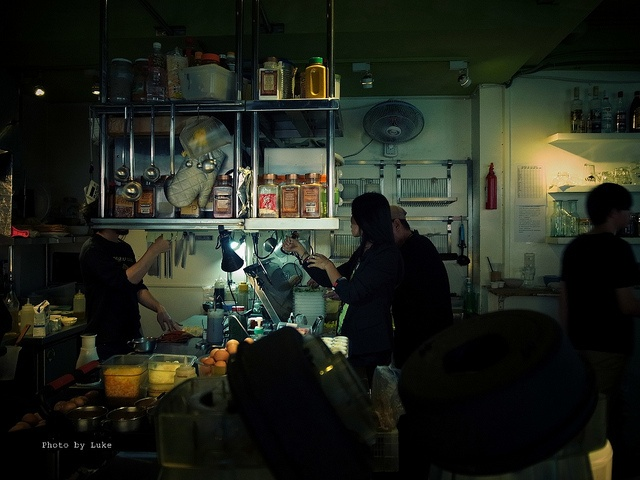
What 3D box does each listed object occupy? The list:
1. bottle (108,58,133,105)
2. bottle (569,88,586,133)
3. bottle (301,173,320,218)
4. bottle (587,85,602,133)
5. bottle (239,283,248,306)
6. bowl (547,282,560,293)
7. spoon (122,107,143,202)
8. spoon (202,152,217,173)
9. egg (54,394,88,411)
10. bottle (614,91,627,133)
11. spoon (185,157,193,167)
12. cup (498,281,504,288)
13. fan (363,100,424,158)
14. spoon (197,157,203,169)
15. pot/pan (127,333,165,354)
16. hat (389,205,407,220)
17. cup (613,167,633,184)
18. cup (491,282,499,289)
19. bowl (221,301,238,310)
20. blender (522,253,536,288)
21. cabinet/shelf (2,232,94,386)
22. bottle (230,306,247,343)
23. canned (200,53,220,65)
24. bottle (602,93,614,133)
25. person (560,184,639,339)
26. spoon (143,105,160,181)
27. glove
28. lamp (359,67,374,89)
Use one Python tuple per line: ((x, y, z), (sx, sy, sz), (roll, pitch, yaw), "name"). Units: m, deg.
((-1.155, -0.918, 3.661), (0.144, 0.249, 0.089), (-1, 5, -18), "bottle")
((2.406, -1.207, 5.870), (0.156, 0.411, 0.110), (-1, 4, -9), "bottle")
((-0.056, -0.261, 3.694), (0.115, 0.257, 0.117), (0, 4, 0), "bottle")
((2.548, -1.199, 5.860), (0.123, 0.420, 0.281), (2, 5, 23), "bottle")
((-0.660, 0.466, 5.386), (0.080, 0.208, 0.202), (-1, 5, -8), "bottle")
((2.064, 0.425, 5.576), (0.098, 0.091, 0.175), (13, 8, 17), "bowl")
((-1.104, -0.489, 3.694), (0.111, 0.531, 0.261), (-1, 5, -15), "spoon")
((-0.638, -0.448, 3.633), (0.081, 0.104, 0.051), (-9, -13, -5), "spoon")
((-1.279, 0.834, 3.225), (0.059, 0.042, 0.116), (-7, -3, -2), "egg")
((2.803, -1.194, 5.885), (0.109, 0.405, 0.321), (2, 5, 24), "bottle")
((-0.747, -0.436, 3.587), (0.042, 0.050, 0.031), (-1, 5, -12), "spoon")
((1.660, 0.407, 5.769), (0.025, 0.056, 0.094), (3, 6, 35), "cup")
((0.671, -1.056, 6.031), (0.699, 0.683, 0.408), (0, 26, 3), "fan")
((-0.687, -0.432, 3.600), (0.025, 0.055, 0.072), (-1, 5, -10), "spoon")
((-1.066, 0.657, 3.965), (0.161, 0.052, 0.100), (0, 1, -43), "pot/pan")
((0.576, -0.204, 4.706), (0.106, 0.068, 0.143), (-1, 0, -1), "hat")
((2.821, -0.596, 5.890), (0.147, 0.158, 0.116), (2, 5, 23), "cup")
((1.587, 0.416, 5.741), (0.074, 0.057, 0.066), (2, 5, 20), "cup")
((-0.749, 0.547, 5.160), (0.113, 0.077, 0.109), (0, -2, 0), "bowl")
((1.963, 0.278, 5.941), (0.114, 0.293, 0.204), (2, 5, 20), "blender")
((-2.134, 0.546, 4.915), (0.444, 1.075, 1.207), (-1, 1, -12), "cabinet/shelf")
((-0.526, 0.547, 4.110), (0.137, 0.243, 0.222), (-1, -2, -2), "bottle")
((-0.637, -1.043, 3.661), (0.105, 0.076, 0.144), (-1, 5, -9), "canned")
((2.678, -1.190, 5.887), (0.112, 0.401, 0.345), (2, 5, 24), "bottle")
((1.800, 0.127, 4.062), (0.469, 0.962, 0.282), (2, 5, 20), "person")
((-0.991, -0.545, 3.691), (0.091, 0.433, 0.274), (-1, 5, -15), "spoon")
((-0.739, -0.321, 3.616), (0.298, 0.276, 0.118), (-1, 5, -13), "glove")
((0.387, -1.348, 5.236), (0.152, 0.178, 0.200), (-1, 0, 1), "lamp")
